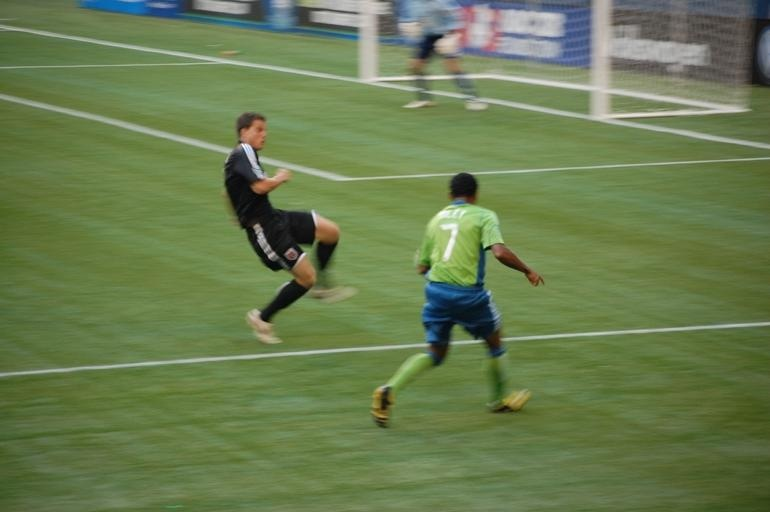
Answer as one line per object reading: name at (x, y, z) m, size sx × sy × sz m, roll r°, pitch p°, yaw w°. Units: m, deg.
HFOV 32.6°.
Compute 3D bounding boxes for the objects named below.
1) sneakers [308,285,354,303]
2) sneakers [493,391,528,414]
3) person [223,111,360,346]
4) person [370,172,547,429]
sneakers at (-0.717, 0.421, 14.745) m, size 0.703 × 0.165 × 0.152 m, roll -6°, pitch 22°, yaw 8°
sneakers at (1.227, 1.411, 12.644) m, size 0.318 × 0.079 × 0.304 m, roll -1°, pitch 20°, yaw 46°
person at (-0.943, -0.307, 14.026) m, size 1.452 × 2.419 × 1.041 m, roll 3°, pitch 16°, yaw -20°
person at (0.765, 0.428, 12.505) m, size 1.308 × 2.418 × 1.194 m, roll 10°, pitch 14°, yaw 4°
